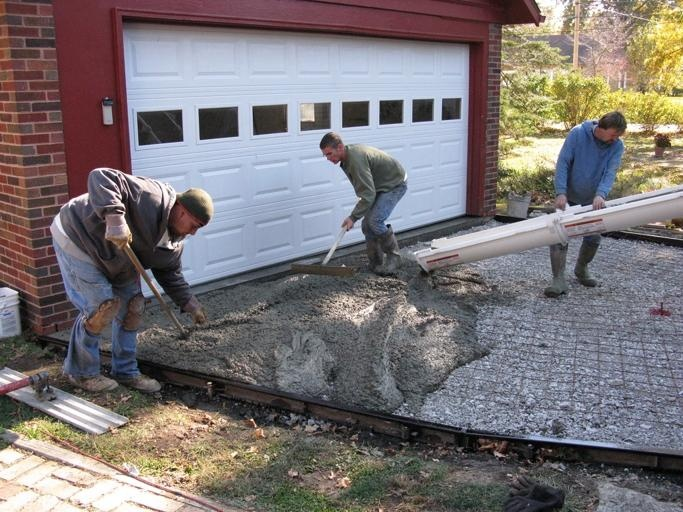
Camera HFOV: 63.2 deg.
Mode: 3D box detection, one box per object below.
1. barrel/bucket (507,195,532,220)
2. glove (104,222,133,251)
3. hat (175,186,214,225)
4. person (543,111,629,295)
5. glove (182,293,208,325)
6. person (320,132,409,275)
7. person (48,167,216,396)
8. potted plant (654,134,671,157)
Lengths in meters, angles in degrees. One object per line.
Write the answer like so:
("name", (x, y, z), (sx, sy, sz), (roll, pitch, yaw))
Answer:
("barrel/bucket", (3.143, -0.864, 10.003), (0.421, 0.538, 0.426), (1, 11, 0))
("glove", (-1.508, -0.121, 3.837), (0.182, 0.166, 0.146), (17, -8, 23))
("hat", (-1.104, -0.340, 3.899), (0.159, 0.194, 0.295), (42, 40, 8))
("person", (2.826, -0.589, 6.468), (0.695, 2.091, 0.919), (5, 20, 23))
("glove", (-1.228, 0.483, 4.787), (0.179, 0.244, 0.111), (-38, 9, 23))
("person", (0.367, -0.653, 6.744), (0.633, 1.694, 1.147), (14, 25, 42))
("person", (-1.664, 0.271, 4.289), (1.287, 1.891, 0.824), (-6, 18, -9))
("potted plant", (10.059, -3.426, 17.485), (0.380, 0.610, 0.806), (8, 21, 30))
